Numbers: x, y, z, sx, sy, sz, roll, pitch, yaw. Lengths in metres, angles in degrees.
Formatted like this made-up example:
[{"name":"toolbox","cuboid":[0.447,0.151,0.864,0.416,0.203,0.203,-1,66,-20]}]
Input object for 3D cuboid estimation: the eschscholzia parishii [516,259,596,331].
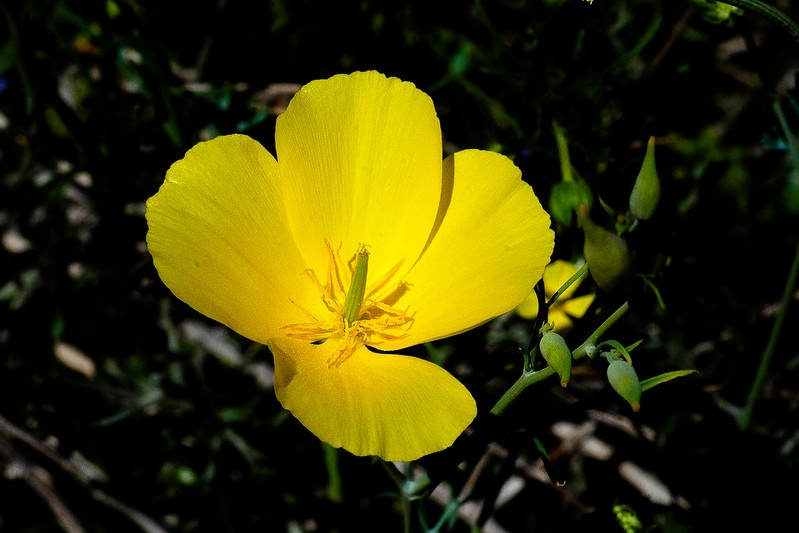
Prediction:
[{"name":"eschscholzia parishii","cuboid":[0.311,0.059,1.512,0.136,0.056,0.139,-33,59,3]}]
